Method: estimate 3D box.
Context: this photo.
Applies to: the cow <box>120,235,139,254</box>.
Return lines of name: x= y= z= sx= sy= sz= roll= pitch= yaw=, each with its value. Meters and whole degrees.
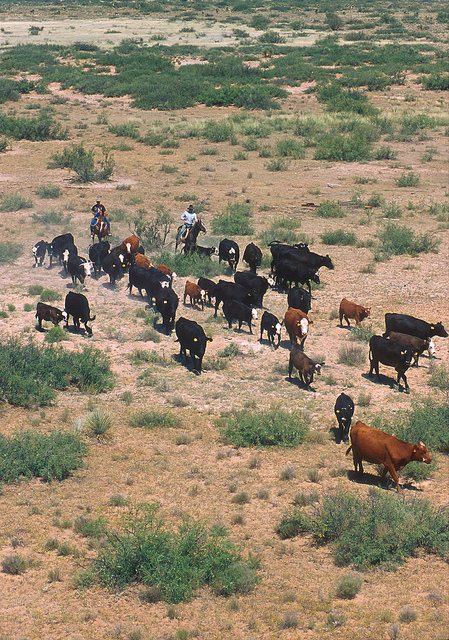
cow: x=-2.790 y=-2.234 z=35.981 sx=0.423 sy=0.375 sz=0.908 roll=5 pitch=15 yaw=16

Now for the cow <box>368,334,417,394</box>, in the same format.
cow: x=4.043 y=1.008 z=29.724 sx=0.406 sy=1.083 sz=1.489 roll=-10 pitch=22 yaw=-41

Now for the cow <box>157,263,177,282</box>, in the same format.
cow: x=-1.628 y=-1.466 z=34.687 sx=0.253 sy=0.488 sz=0.826 roll=-22 pitch=41 yaw=-21

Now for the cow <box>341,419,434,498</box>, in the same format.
cow: x=3.410 y=2.934 z=25.484 sx=2.122 sy=1.644 sz=0.568 roll=17 pitch=18 yaw=38

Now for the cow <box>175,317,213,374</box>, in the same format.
cow: x=-0.752 y=0.595 z=30.383 sx=0.374 sy=1.095 sz=1.756 roll=-3 pitch=17 yaw=-19

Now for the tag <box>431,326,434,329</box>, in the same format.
tag: x=5.236 y=0.165 z=30.806 sx=0.049 sy=0.068 sz=0.021 roll=-1 pitch=0 yaw=3

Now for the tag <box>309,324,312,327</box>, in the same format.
tag: x=2.290 y=0.099 z=32.430 sx=0.054 sy=0.068 sz=0.020 roll=1 pitch=37 yaw=-5

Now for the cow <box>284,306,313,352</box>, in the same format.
cow: x=1.836 y=0.215 z=31.324 sx=0.400 sy=0.944 sz=1.476 roll=-5 pitch=13 yaw=-17

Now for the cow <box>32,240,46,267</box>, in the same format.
cow: x=-5.462 y=-1.993 z=36.275 sx=0.385 sy=0.802 sz=0.843 roll=-1 pitch=13 yaw=-8

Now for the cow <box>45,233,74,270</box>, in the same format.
cow: x=-4.839 y=-2.179 z=35.697 sx=0.353 sy=1.076 sz=1.720 roll=3 pitch=15 yaw=8

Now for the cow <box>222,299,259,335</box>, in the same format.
cow: x=0.459 y=-0.075 z=32.504 sx=0.512 sy=0.862 sz=1.287 roll=-11 pitch=18 yaw=-43

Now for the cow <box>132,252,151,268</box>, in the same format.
cow: x=-2.350 y=-1.754 z=35.147 sx=0.201 sy=0.438 sz=0.678 roll=-12 pitch=18 yaw=-26

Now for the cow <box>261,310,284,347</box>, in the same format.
cow: x=1.259 y=0.199 z=31.917 sx=0.578 sy=0.880 sz=1.094 roll=1 pitch=14 yaw=1

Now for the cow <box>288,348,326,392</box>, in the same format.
cow: x=1.951 y=1.217 z=29.591 sx=0.644 sy=0.900 sz=1.585 roll=-1 pitch=14 yaw=-7

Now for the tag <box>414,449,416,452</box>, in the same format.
tag: x=3.827 y=2.601 z=24.585 sx=0.036 sy=0.045 sz=0.011 roll=10 pitch=46 yaw=2

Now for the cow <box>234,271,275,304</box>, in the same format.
cow: x=0.804 y=-1.052 z=34.416 sx=0.467 sy=0.944 sz=1.401 roll=-12 pitch=18 yaw=-43

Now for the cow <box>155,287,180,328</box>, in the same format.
cow: x=-1.498 y=-0.309 z=32.027 sx=0.538 sy=1.058 sz=0.621 roll=-7 pitch=14 yaw=-32

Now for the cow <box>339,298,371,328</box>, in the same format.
cow: x=3.478 y=-0.138 z=32.620 sx=0.464 sy=0.733 sz=1.226 roll=-6 pitch=16 yaw=-28

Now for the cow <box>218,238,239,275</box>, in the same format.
cow: x=0.154 y=-1.899 z=36.613 sx=0.554 sy=1.031 sz=0.892 roll=-1 pitch=13 yaw=-9

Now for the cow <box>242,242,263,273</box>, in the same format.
cow: x=0.827 y=-1.834 z=36.151 sx=0.464 sy=0.807 sz=0.587 roll=0 pitch=13 yaw=-3

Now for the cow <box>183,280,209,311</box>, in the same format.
cow: x=-0.759 y=-0.707 z=34.068 sx=0.508 sy=0.730 sz=1.065 roll=-7 pitch=16 yaw=-33

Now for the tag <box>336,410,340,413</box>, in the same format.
tag: x=2.529 y=2.002 z=27.152 sx=0.036 sy=0.025 sz=0.042 roll=-29 pitch=26 yaw=-33

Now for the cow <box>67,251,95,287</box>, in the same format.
cow: x=-4.088 y=-1.393 z=34.481 sx=0.622 sy=0.943 sz=1.408 roll=-2 pitch=14 yaw=-13

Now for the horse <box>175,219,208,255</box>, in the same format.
horse: x=-1.031 y=-2.744 z=37.767 sx=0.833 sy=1.209 sz=2.485 roll=1 pitch=14 yaw=-2

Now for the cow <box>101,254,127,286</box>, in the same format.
cow: x=-3.162 y=-1.432 z=34.913 sx=0.394 sy=0.960 sz=0.619 roll=-6 pitch=14 yaw=-28

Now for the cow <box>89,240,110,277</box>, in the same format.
cow: x=-3.619 y=-1.828 z=35.541 sx=0.311 sy=0.629 sz=1.130 roll=4 pitch=37 yaw=-7

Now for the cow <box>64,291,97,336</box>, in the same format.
cow: x=-3.744 y=-0.223 z=31.708 sx=0.750 sy=1.106 sz=0.977 roll=-1 pitch=13 yaw=-8
